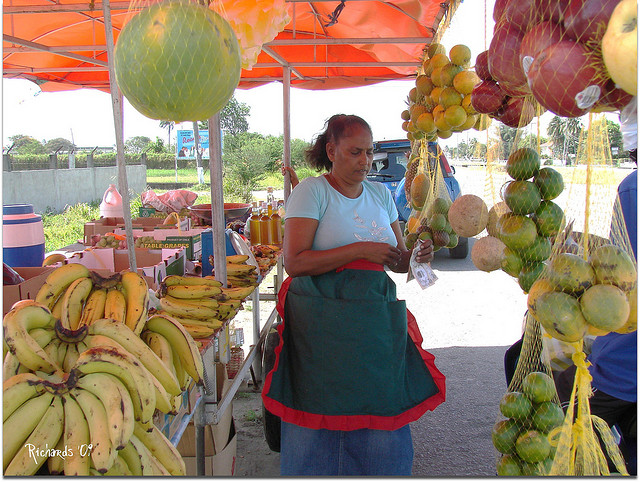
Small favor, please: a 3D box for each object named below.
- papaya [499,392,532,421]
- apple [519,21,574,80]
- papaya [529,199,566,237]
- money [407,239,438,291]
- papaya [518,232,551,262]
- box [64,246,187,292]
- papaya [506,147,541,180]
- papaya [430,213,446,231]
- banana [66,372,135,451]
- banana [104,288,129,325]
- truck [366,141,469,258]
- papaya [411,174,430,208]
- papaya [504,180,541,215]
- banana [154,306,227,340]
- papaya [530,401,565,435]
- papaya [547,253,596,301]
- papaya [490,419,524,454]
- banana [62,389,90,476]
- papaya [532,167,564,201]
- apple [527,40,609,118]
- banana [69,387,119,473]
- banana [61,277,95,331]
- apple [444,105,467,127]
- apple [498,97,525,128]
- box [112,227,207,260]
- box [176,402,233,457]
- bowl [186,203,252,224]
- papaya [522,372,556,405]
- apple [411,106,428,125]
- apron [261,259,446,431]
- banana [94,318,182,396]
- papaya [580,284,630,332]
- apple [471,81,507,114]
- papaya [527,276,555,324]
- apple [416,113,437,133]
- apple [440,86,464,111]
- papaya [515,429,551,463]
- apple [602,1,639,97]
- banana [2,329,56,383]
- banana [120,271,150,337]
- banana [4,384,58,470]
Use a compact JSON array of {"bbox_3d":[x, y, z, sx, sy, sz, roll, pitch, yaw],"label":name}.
[{"bbox_3d":[0.778,0.653,1.815,0.089,0.108,0.096,-8,-13,27],"label":"papaya"},{"bbox_3d":[0.635,-0.528,1.330,0.123,0.173,0.131,12,-9,27],"label":"apple"},{"bbox_3d":[0.838,-0.090,1.684,0.093,0.117,0.127,-9,-1,38],"label":"papaya"},{"bbox_3d":[0.529,0.123,2.368,0.165,0.255,0.068,-1,-2,-43],"label":"money"},{"bbox_3d":[0.795,0.009,1.719,0.087,0.124,0.091,11,15,42],"label":"papaya"},{"bbox_3d":[-1.330,0.141,3.297,0.520,0.231,0.550,0,6,-3],"label":"box"},{"bbox_3d":[0.755,-0.287,1.702,0.113,0.101,0.093,-23,32,-10],"label":"papaya"},{"bbox_3d":[0.650,-0.107,2.529,0.077,0.089,0.056,4,9,33],"label":"papaya"},{"bbox_3d":[-0.596,0.482,1.286,0.152,0.287,0.067,-13,-30,-12],"label":"banana"},{"bbox_3d":[-0.696,0.215,1.576,0.047,0.204,0.064,-6,-28,-5],"label":"banana"},{"bbox_3d":[2.050,-1.807,10.831,1.735,2.200,3.795,-6,28,14],"label":"truck"},{"bbox_3d":[0.612,-0.308,2.795,0.101,0.204,0.092,-5,-13,38],"label":"papaya"},{"bbox_3d":[0.737,-0.154,1.678,0.108,0.154,0.115,-3,3,-34],"label":"papaya"},{"bbox_3d":[-0.666,0.424,2.198,0.123,0.165,0.484,-1,-10,25],"label":"banana"},{"bbox_3d":[0.900,0.690,1.788,0.139,0.118,0.073,-2,7,-8],"label":"papaya"},{"bbox_3d":[0.797,0.103,1.487,0.108,0.157,0.112,13,13,9],"label":"papaya"},{"bbox_3d":[0.761,0.788,1.896,0.108,0.155,0.119,0,-3,-2],"label":"papaya"},{"bbox_3d":[-0.667,0.541,1.247,0.050,0.259,0.077,-2,-14,-20],"label":"banana"},{"bbox_3d":[0.849,-0.213,1.715,0.098,0.142,0.108,4,9,-27],"label":"papaya"},{"bbox_3d":[0.684,-0.456,1.265,0.202,0.206,0.081,3,8,28],"label":"apple"},{"bbox_3d":[-0.620,0.490,1.255,0.078,0.252,0.057,-14,-22,-1],"label":"banana"},{"bbox_3d":[-0.827,0.207,1.552,0.059,0.151,0.145,0,7,8],"label":"banana"},{"bbox_3d":[0.665,-0.624,2.264,0.089,0.110,0.094,1,9,5],"label":"apple"},{"bbox_3d":[0.733,-0.496,1.761,0.081,0.119,0.090,1,6,4],"label":"apple"},{"bbox_3d":[-1.307,-0.037,3.854,0.634,0.313,0.581,1,7,-2],"label":"box"},{"bbox_3d":[-0.658,1.108,2.711,0.242,0.269,0.364,1,8,2],"label":"box"},{"bbox_3d":[-1.086,-0.279,4.612,0.630,0.184,0.910,0,8,4],"label":"bowl"},{"bbox_3d":[0.856,0.573,1.792,0.099,0.144,0.120,-5,-20,1],"label":"papaya"},{"bbox_3d":[0.587,-0.755,2.741,0.084,0.124,0.091,0,4,5],"label":"apple"},{"bbox_3d":[0.163,0.504,2.352,0.898,0.844,0.318,1,7,11],"label":"apron"},{"bbox_3d":[-0.575,0.362,1.427,0.067,0.298,0.091,-44,26,-24],"label":"banana"},{"bbox_3d":[0.911,0.199,1.441,0.118,0.165,0.125,21,16,31],"label":"papaya"},{"bbox_3d":[0.651,-0.564,1.776,0.107,0.145,0.119,-13,-25,9],"label":"apple"},{"bbox_3d":[0.735,0.191,1.523,0.065,0.138,0.095,-4,-13,34],"label":"papaya"},{"bbox_3d":[0.587,-0.660,2.545,0.086,0.123,0.094,-19,-3,11],"label":"apple"},{"bbox_3d":[0.659,-0.724,2.304,0.088,0.127,0.098,0,0,-3],"label":"apple"},{"bbox_3d":[0.815,0.786,1.761,0.099,0.120,0.109,0,2,7],"label":"papaya"},{"bbox_3d":[0.734,-0.471,1.118,0.078,0.213,0.066,6,9,42],"label":"apple"},{"bbox_3d":[-0.913,0.346,1.442,0.141,0.144,0.143,-4,9,-38],"label":"banana"},{"bbox_3d":[-0.649,0.204,1.590,0.077,0.258,0.065,-6,-16,-3],"label":"banana"},{"bbox_3d":[-0.804,0.494,1.242,0.057,0.267,0.084,29,-20,-12],"label":"banana"}]
